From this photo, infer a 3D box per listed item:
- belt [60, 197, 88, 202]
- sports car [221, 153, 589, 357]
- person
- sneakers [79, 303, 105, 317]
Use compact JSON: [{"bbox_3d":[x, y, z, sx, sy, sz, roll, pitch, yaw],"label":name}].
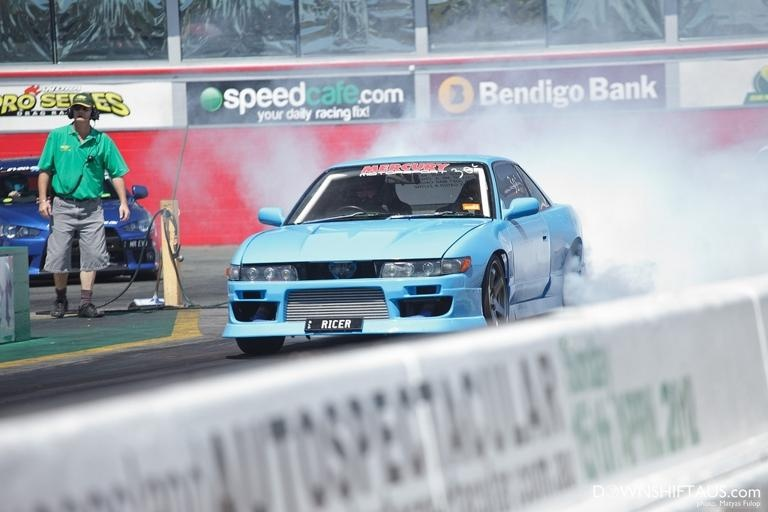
[{"bbox_3d":[-3.603,-0.656,9.376,0.295,0.080,0.060,-6,-1,-22],"label":"belt"},{"bbox_3d":[0.260,-0.134,7.237,3.356,1.501,1.935,-5,-1,-38],"label":"sports car"},{"bbox_3d":[-3.545,-0.646,9.564,0.980,2.034,1.380,-4,-1,-24],"label":"person"},{"bbox_3d":[-3.524,0.655,9.651,0.335,0.192,0.140,0,5,27],"label":"sneakers"}]
